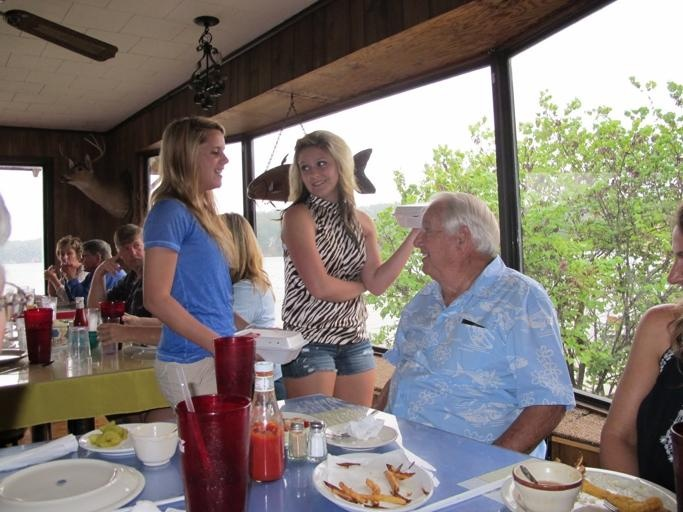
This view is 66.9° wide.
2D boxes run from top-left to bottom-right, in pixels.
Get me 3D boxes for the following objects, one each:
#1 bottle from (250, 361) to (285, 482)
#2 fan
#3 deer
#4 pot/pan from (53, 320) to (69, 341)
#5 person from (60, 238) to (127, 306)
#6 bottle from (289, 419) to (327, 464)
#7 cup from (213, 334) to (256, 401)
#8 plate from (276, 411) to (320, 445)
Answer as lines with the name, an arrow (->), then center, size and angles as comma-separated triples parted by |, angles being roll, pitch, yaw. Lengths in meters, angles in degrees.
bottle -> -0.169, 0.352, 1.122 | 0.068, 0.274, 0.093 | -1, 4, 4
fan -> -1.682, -1.307, 3.054 | 0.406, 0.133, 0.638 | 1, 4, 34
deer -> -3.223, -1.070, 6.741 | 0.738, 1.176, 1.120 | -4, 5, -35
pot/pan -> -1.635, 0.431, 2.999 | 0.102, 0.090, 0.099 | 2, -9, -8
person -> -2.379, 0.318, 4.936 | 0.549, 0.904, 0.408 | -1, 5, -38
bottle -> -0.092, 0.442, 1.246 | 0.113, 0.096, 0.064 | -1, 1, -15
cup -> -0.253, 0.261, 1.243 | 0.101, 0.155, 0.097 | 1, 10, 0
plate -> -0.110, 0.416, 1.252 | 0.112, 0.027, 0.115 | -2, 5, 5
